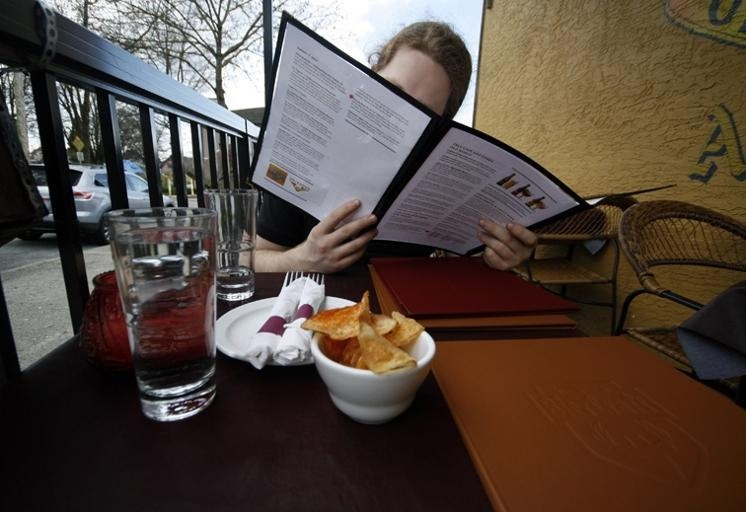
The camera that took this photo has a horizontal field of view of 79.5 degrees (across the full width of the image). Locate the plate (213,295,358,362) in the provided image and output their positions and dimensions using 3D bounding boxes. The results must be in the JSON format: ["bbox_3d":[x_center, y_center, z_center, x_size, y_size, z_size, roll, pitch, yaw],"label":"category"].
[{"bbox_3d":[-0.221,0.128,1.022,0.305,0.104,0.233,-3,9,-43],"label":"plate"}]

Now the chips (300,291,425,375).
[{"bbox_3d":[-0.016,0.153,0.865,0.156,0.060,0.148,6,23,23],"label":"chips"}]

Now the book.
[{"bbox_3d":[0.045,-0.259,1.230,0.908,0.484,0.226,22,48,-18],"label":"book"}]

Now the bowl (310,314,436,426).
[{"bbox_3d":[0.001,0.243,0.896,0.212,0.131,0.208,-6,12,1],"label":"bowl"}]

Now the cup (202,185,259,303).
[{"bbox_3d":[-0.369,-0.023,1.205,0.126,0.322,0.134,8,7,-1],"label":"cup"}]

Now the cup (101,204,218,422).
[{"bbox_3d":[-0.388,0.098,0.903,0.191,0.383,0.191,0,11,0],"label":"cup"}]
